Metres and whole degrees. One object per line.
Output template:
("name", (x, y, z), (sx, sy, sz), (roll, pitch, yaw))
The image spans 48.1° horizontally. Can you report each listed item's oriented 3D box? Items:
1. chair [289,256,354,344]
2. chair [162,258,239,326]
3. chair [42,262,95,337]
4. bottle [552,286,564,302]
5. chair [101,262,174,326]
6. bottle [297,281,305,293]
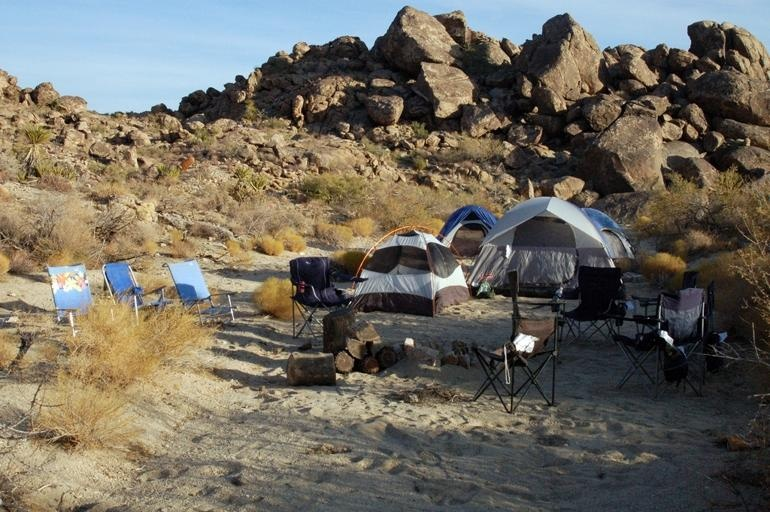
("chair", (-1.470, 1.025, 21.134), (1.774, 2.454, 1.590), (-3, 4, -45))
("chair", (-4.488, 0.837, 20.735), (1.801, 1.362, 1.155), (38, 34, 23))
("chair", (-6.914, 0.765, 18.999), (0.820, 1.154, 0.894), (2, 2, -40))
("bottle", (4.309, 0.941, 21.436), (0.225, 0.331, 0.731), (2, 9, 15))
("chair", (-5.761, 0.700, 20.002), (1.700, 1.188, 1.048), (19, 18, 24))
("bottle", (-1.967, 0.718, 20.362), (0.195, 0.285, 0.193), (2, 10, 0))
